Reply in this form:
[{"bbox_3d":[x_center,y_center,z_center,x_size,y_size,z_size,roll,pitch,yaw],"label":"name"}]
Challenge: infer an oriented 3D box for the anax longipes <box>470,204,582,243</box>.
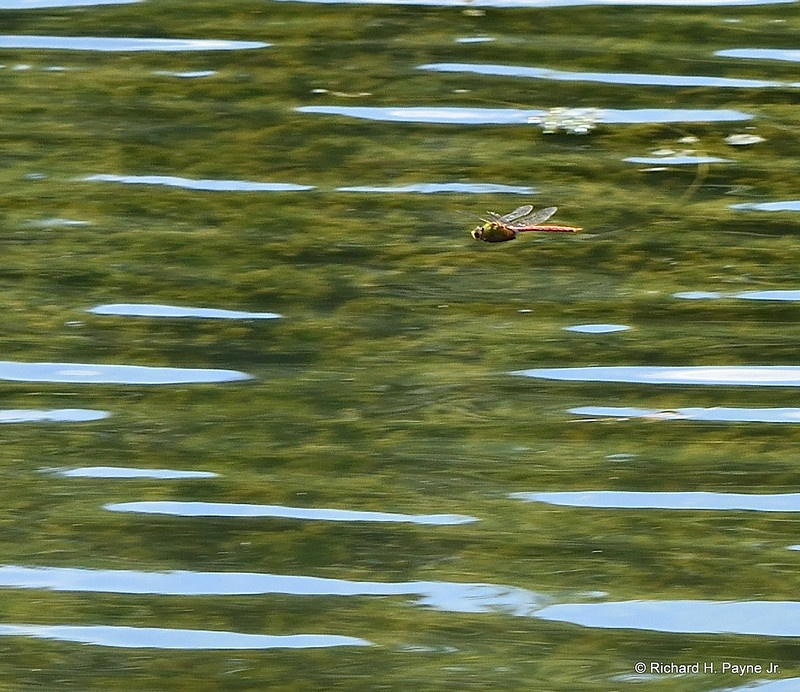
[{"bbox_3d":[0.434,-0.448,6.687,0.302,0.230,0.045,-2,98,20],"label":"anax longipes"}]
